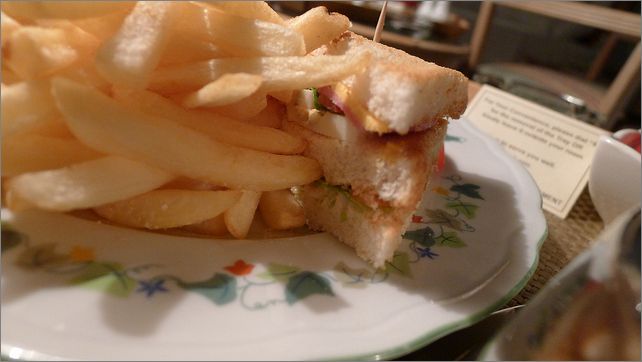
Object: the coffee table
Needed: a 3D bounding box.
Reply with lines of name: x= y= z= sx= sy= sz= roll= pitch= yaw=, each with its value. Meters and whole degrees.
coffee table: x=0.574 y=-1.332 z=4.949 sx=1.253 sy=0.228 sz=1.258 roll=29 pitch=27 yaw=26
